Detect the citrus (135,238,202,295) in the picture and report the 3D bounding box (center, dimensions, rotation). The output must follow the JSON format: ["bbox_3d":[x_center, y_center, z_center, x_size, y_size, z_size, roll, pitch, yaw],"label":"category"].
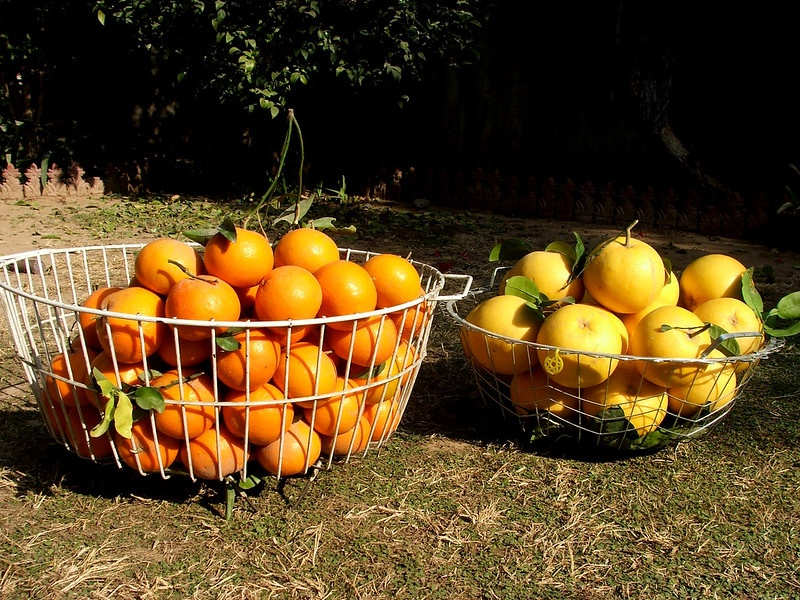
[{"bbox_3d":[-0.909,-0.135,2.630,0.225,0.202,0.220,-2,-19,0],"label":"citrus"}]

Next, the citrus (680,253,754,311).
[{"bbox_3d":[1.524,-0.100,3.197,0.329,0.286,0.282,-7,-13,18],"label":"citrus"}]

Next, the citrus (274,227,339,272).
[{"bbox_3d":[-0.370,-0.196,2.707,0.236,0.203,0.203,5,-11,9],"label":"citrus"}]

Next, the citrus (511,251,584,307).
[{"bbox_3d":[0.714,-0.120,3.176,0.317,0.266,0.272,10,-11,9],"label":"citrus"}]

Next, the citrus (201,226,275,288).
[{"bbox_3d":[-0.634,-0.175,2.599,0.282,0.261,0.264,10,6,39],"label":"citrus"}]

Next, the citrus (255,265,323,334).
[{"bbox_3d":[-0.395,-0.036,2.506,0.243,0.281,0.245,5,17,19],"label":"citrus"}]

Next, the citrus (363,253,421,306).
[{"bbox_3d":[-0.017,-0.069,2.753,0.216,0.212,0.249,-9,-40,-3],"label":"citrus"}]

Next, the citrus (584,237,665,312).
[{"bbox_3d":[1.026,-0.126,3.160,0.413,0.381,0.390,-5,-7,31],"label":"citrus"}]
